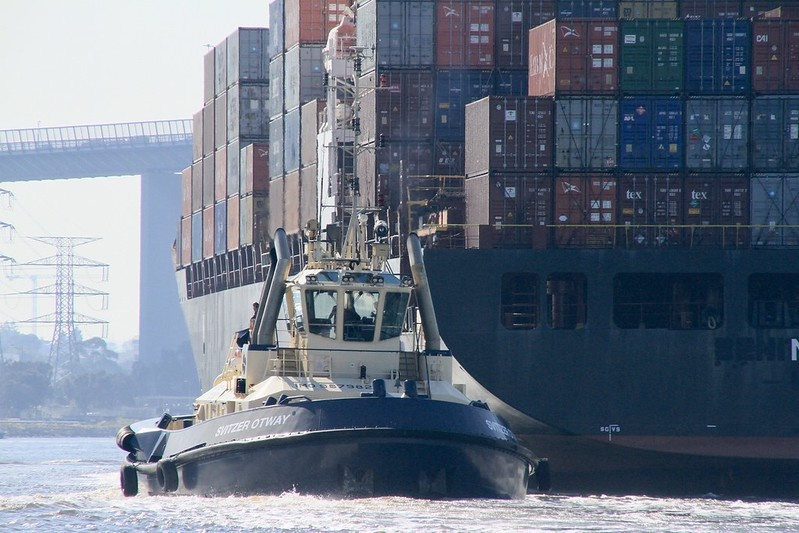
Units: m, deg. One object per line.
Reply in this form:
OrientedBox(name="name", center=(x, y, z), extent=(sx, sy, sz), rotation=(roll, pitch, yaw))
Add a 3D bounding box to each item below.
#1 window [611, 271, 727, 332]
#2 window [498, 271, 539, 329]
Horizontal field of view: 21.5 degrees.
OrientedBox(name="window", center=(9.309, 1.129, 72.689), extent=(3.835, 2.095, 0.125), rotation=(1, -20, 1))
OrientedBox(name="window", center=(4.066, 1.018, 72.848), extent=(1.358, 2.076, 1.245), rotation=(0, 13, -3))
